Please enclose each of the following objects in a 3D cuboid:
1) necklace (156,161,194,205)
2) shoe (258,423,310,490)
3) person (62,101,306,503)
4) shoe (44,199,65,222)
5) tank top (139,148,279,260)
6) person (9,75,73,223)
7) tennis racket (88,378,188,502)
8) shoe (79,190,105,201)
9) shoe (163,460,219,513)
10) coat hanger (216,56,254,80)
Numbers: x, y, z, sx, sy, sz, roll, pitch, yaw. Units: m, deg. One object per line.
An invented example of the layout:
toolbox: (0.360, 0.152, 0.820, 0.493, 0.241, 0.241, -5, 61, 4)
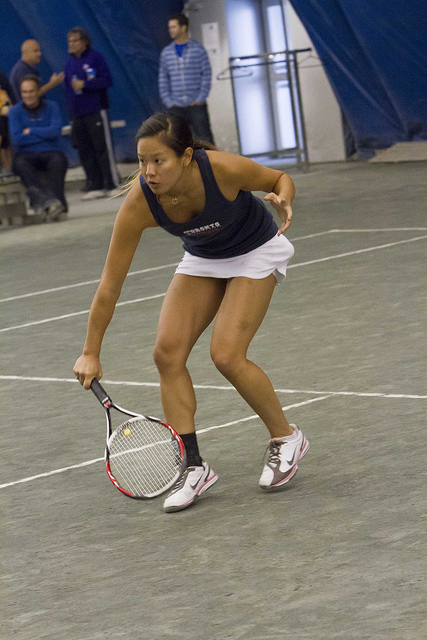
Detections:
necklace: (-0.126, -0.454, 2.035, 0.142, 0.103, 0.037, -9, 6, 18)
shoe: (0.312, 0.509, 2.239, 0.107, 0.138, 0.305, -8, 30, 36)
person: (-0.151, -0.067, 2.144, 0.952, 1.337, 0.898, -7, -8, 11)
shoe: (-3.108, -2.105, 11.601, 0.459, 0.354, 0.389, -10, 5, 8)
tank top: (-0.012, -0.412, 2.212, 0.326, 0.287, 0.496, -8, 5, 26)
person: (-3.318, -3.148, 11.391, 1.020, 2.401, 0.759, -9, 6, 29)
tennis racket: (-0.323, 0.499, 2.506, 0.288, 0.113, 0.675, -15, 50, -33)
shoe: (-2.762, -2.766, 13.495, 0.649, 0.229, 0.207, -10, 2, -4)
shoe: (-0.074, 0.591, 2.241, 0.268, 0.110, 0.090, -32, 19, -34)
coat hanger: (0.536, -6.178, 14.745, 0.934, 0.593, 0.033, -6, 35, 3)
